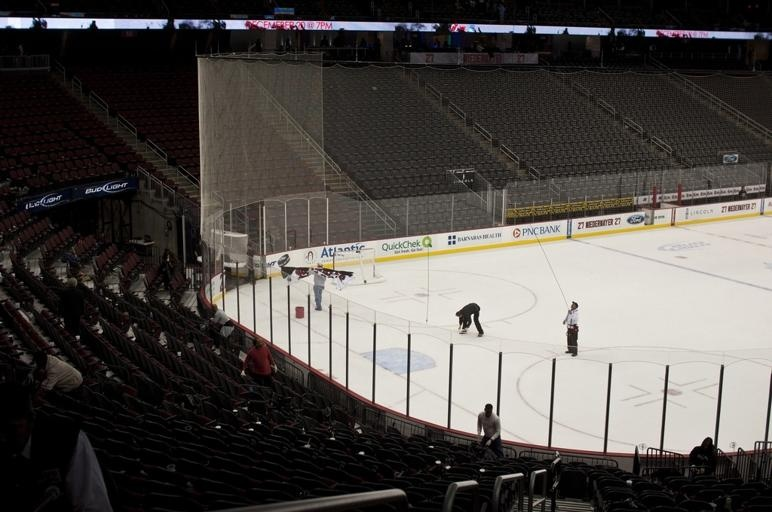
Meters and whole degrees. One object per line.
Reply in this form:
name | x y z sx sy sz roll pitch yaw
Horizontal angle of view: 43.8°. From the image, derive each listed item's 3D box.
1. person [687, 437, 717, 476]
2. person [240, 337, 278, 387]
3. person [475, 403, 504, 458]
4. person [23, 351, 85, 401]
person | 8.540 5.380 25.811 0.726 0.962 0.585 1 -14 12
person | -3.756 3.372 28.593 0.939 1.905 0.586 -5 24 -17
person | 2.917 4.916 26.932 0.709 1.453 1.151 2 -13 6
person | -8.197 2.942 23.884 1.202 0.953 0.334 16 -18 -43
